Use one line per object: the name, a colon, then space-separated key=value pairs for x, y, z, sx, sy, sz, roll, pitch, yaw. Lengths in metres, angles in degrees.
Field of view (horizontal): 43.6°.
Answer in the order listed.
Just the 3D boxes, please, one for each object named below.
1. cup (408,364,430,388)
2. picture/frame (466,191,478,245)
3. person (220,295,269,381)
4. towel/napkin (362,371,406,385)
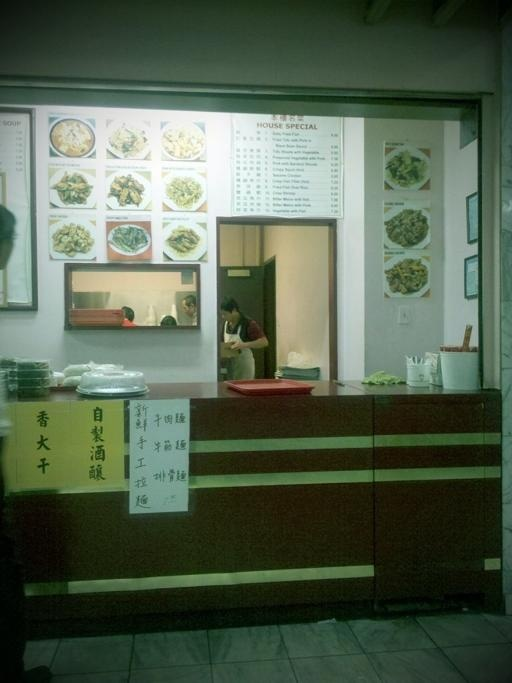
cup: x=0.720 y=0.151 z=2.890 sx=0.104 sy=0.074 sz=0.095 roll=-2 pitch=-2 yaw=0
picture/frame: x=1.120 y=-0.638 z=3.304 sx=0.014 sy=0.247 sz=0.229 roll=5 pitch=20 yaw=31
person: x=-0.086 y=0.002 z=4.793 sx=0.335 sy=0.636 sz=0.766 roll=0 pitch=5 yaw=-2
towel/napkin: x=0.584 y=0.174 z=2.957 sx=0.178 sy=0.044 sz=0.196 roll=5 pitch=7 yaw=43
